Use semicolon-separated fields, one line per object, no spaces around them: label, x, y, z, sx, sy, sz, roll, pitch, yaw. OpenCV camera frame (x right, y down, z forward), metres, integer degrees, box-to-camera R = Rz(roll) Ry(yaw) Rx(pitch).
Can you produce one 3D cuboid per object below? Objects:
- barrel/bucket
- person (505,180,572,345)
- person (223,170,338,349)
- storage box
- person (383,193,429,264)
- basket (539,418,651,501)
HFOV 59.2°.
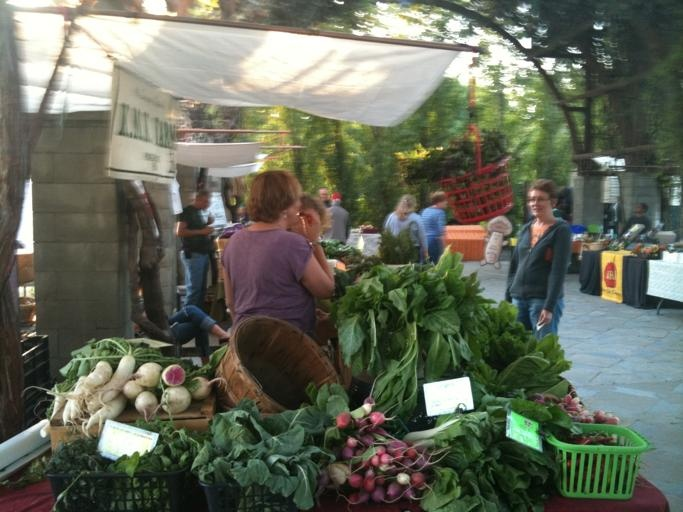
barrel/bucket;-0.301;0.490;2.805;0.437;0.522;0.394;3;5;42
person;1.469;0.032;4.486;0.423;1.167;0.564;7;11;15
person;-0.320;0.012;3.249;0.494;0.895;0.540;3;8;-3
storage box;-0.918;0.659;2.824;0.635;0.231;0.687;-2;6;-5
person;0.816;-0.345;7.630;0.492;0.872;0.463;3;6;-3
basket;1.063;0.864;2.558;0.430;0.250;0.222;5;10;3
